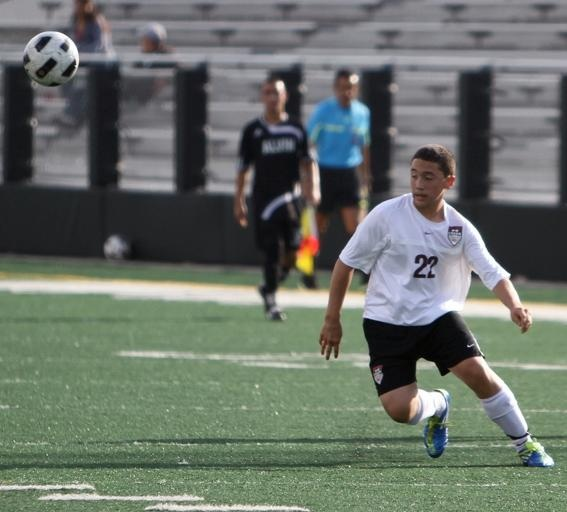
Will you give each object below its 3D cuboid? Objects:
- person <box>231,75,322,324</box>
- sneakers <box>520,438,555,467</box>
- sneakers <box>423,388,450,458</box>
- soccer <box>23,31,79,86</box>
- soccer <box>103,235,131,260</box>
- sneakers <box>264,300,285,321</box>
[{"bbox_3d":[-0.083,-0.549,12.598,0.569,1.843,1.072,3,10,9],"label":"person"},{"bbox_3d":[1.628,1.287,9.966,0.129,0.120,0.251,0,-4,-12],"label":"sneakers"},{"bbox_3d":[1.011,1.100,10.169,0.141,0.449,0.189,2,-4,41],"label":"sneakers"},{"bbox_3d":[-1.738,-1.471,11.407,0.364,0.414,0.394,11,16,17],"label":"soccer"},{"bbox_3d":[-1.290,-0.056,11.977,0.173,0.212,0.179,-2,-5,7],"label":"soccer"},{"bbox_3d":[-0.038,0.441,12.238,0.104,0.172,0.168,-20,16,-32],"label":"sneakers"}]
